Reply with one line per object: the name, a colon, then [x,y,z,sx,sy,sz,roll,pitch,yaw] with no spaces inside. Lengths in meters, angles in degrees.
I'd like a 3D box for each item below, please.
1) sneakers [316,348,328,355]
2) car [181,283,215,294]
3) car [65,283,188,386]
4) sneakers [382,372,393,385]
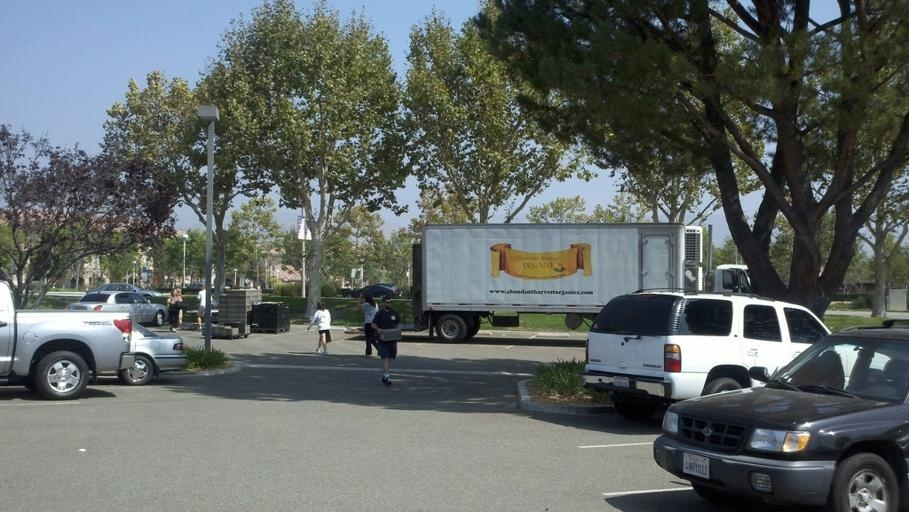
sneakers: [-5.246,3.838,37.715,0.200,0.229,0.566,5,-10,-32]
car: [-21.274,2.687,78.219,2.781,0.899,1.244,2,-2,6]
car: [-11.856,2.851,34.668,6.635,2.621,3.021,0,-1,-42]
sneakers: [-2.156,4.039,30.801,0.213,0.247,0.592,1,-9,-14]
